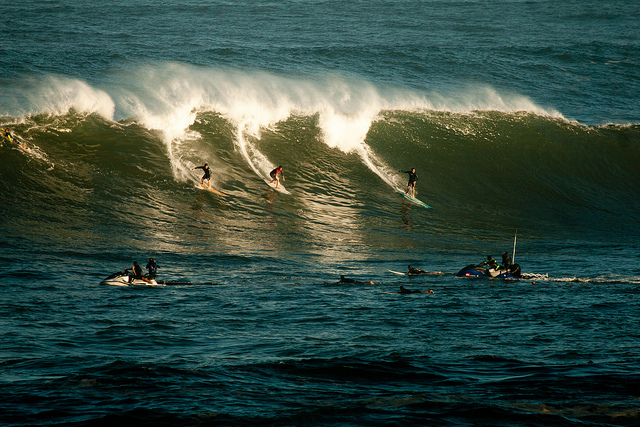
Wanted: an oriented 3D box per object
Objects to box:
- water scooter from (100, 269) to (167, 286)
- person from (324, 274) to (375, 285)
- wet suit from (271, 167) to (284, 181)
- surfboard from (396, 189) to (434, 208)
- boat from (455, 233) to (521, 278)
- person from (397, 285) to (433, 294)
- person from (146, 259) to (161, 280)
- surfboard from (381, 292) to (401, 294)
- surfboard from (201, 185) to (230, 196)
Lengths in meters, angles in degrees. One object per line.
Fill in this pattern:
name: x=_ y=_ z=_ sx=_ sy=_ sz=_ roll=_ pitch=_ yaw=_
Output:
water scooter: x=-6.638 y=2.245 z=25.568 sx=2.021 sy=0.587 sz=0.355 roll=-1 pitch=7 yaw=-13
person: x=1.123 y=2.462 z=26.527 sx=2.052 sy=0.388 sz=0.472 roll=2 pitch=16 yaw=3
wet suit: x=-2.088 y=-1.918 z=35.813 sx=0.593 sy=0.645 sz=0.851 roll=0 pitch=5 yaw=-4
surfboard: x=4.764 y=-0.724 z=36.878 sx=3.114 sy=0.109 sz=0.339 roll=15 pitch=25 yaw=-20
boat: x=6.600 y=1.826 z=28.039 sx=2.523 sy=1.334 sz=0.675 roll=5 pitch=22 yaw=23
person: x=3.376 y=2.670 z=25.834 sx=1.335 sy=0.240 sz=0.319 roll=-2 pitch=11 yaw=-4
person: x=-5.944 y=1.965 z=26.040 sx=0.664 sy=0.592 sz=0.351 roll=0 pitch=11 yaw=-8
surfboard: x=2.565 y=2.797 z=25.688 sx=0.475 sy=0.025 sz=0.186 roll=0 pitch=4 yaw=-10
surfboard: x=-4.959 y=-1.038 z=34.189 sx=2.077 sy=0.100 sz=0.168 roll=12 pitch=-32 yaw=-6
